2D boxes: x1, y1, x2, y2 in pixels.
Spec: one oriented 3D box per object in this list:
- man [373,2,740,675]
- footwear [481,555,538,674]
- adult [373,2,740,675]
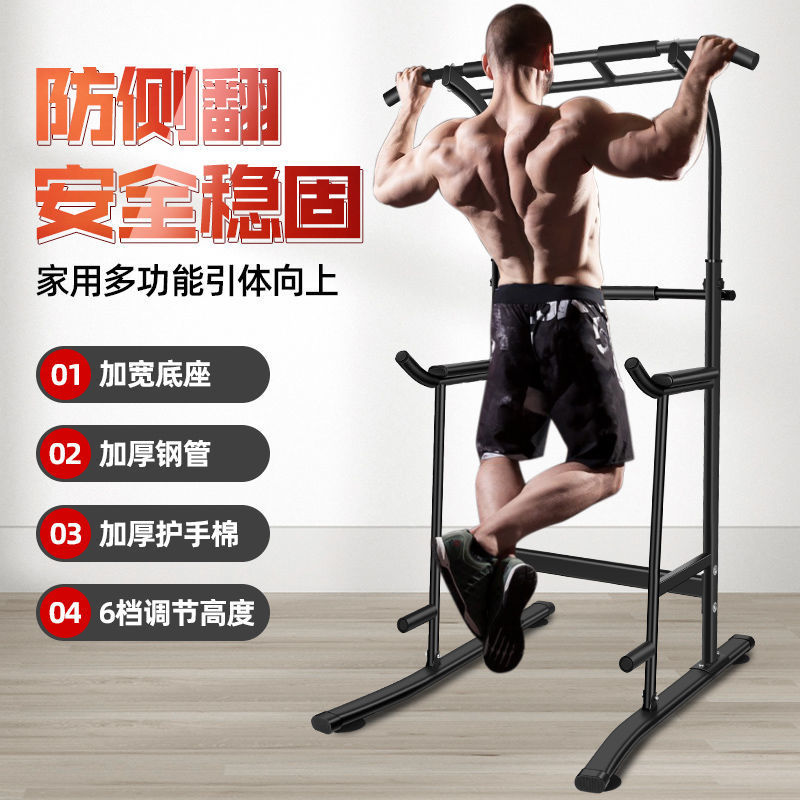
[{"bbox_3d":[0.248,-0.174,2.344,0.827,1.487,0.569,4,7,42],"label":"man"},{"bbox_3d":[0.239,0.477,2.197,0.109,0.282,0.143,0,5,1],"label":"footwear"},{"bbox_3d":[0.248,-0.174,2.344,0.827,1.487,0.569,4,7,42],"label":"adult"}]
